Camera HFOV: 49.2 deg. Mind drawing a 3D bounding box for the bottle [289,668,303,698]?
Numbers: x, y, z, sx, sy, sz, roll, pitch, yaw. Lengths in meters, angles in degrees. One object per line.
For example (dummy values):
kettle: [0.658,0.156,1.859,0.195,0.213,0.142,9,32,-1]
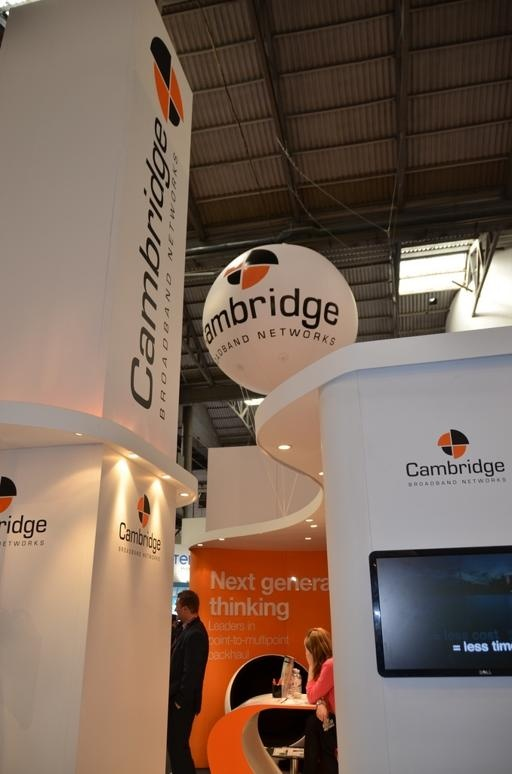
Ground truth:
bottle: [0.367,2.835,5.347,0.111,0.232,0.224,1,-18,1]
